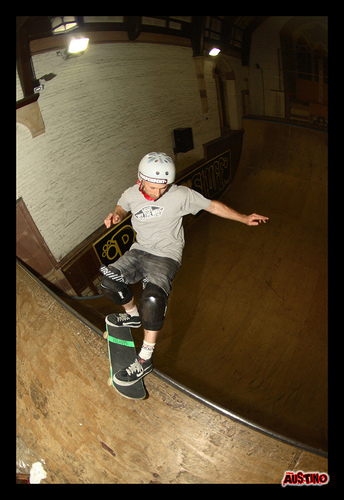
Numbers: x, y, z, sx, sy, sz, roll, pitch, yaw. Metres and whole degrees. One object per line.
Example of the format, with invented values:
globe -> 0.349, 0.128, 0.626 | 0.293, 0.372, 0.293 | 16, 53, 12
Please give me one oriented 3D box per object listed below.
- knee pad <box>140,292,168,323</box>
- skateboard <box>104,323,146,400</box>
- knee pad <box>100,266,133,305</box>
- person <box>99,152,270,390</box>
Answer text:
knee pad -> -0.142, 0.426, 2.430 | 0.181, 0.190, 0.144 | -3, 31, 4
skateboard -> -0.399, 0.847, 2.671 | 0.190, 0.118, 0.789 | 4, 34, -23
knee pad -> -0.454, 0.322, 2.682 | 0.117, 0.296, 0.242 | -47, 35, -1
person -> 0.101, 0.208, 2.842 | 1.353, 1.571, 1.181 | 9, 33, 10
